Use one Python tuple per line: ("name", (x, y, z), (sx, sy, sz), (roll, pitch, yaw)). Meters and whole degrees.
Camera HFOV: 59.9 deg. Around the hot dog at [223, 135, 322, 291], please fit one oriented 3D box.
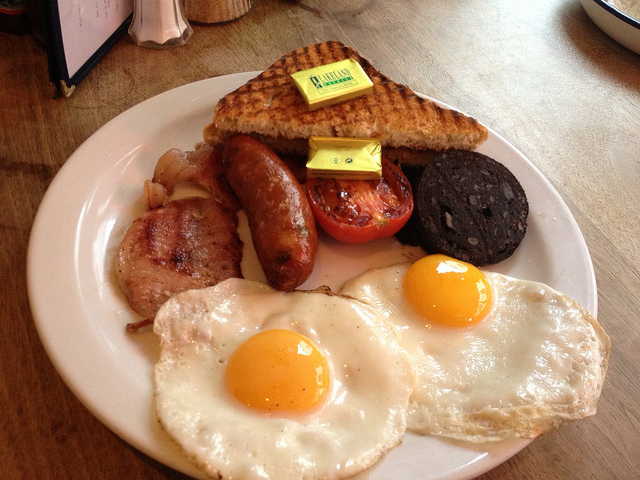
("hot dog", (-0.194, -0.124, 2.559), (0.324, 0.238, 0.702), (-26, 72, 3))
